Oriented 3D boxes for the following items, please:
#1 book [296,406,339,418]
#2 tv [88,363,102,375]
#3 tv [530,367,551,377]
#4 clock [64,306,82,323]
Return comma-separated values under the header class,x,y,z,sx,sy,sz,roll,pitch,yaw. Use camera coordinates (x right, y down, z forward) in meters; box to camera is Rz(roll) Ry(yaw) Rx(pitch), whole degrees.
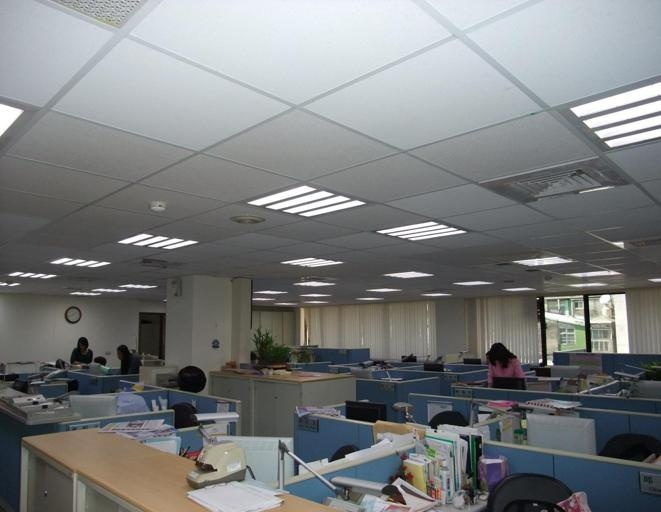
class,x,y,z,sx,sy,sz,roll,pitch,yaw
book,-0.100,1.488,4.420,0.216,0.053,0.217,-1,-5,36
tv,-4.040,1.942,7.919,0.246,0.197,0.086,-6,-10,32
tv,3.936,2.152,8.604,0.325,0.178,0.305,2,-5,-14
clock,-7.365,1.688,13.197,0.104,0.415,0.439,-3,-30,31
